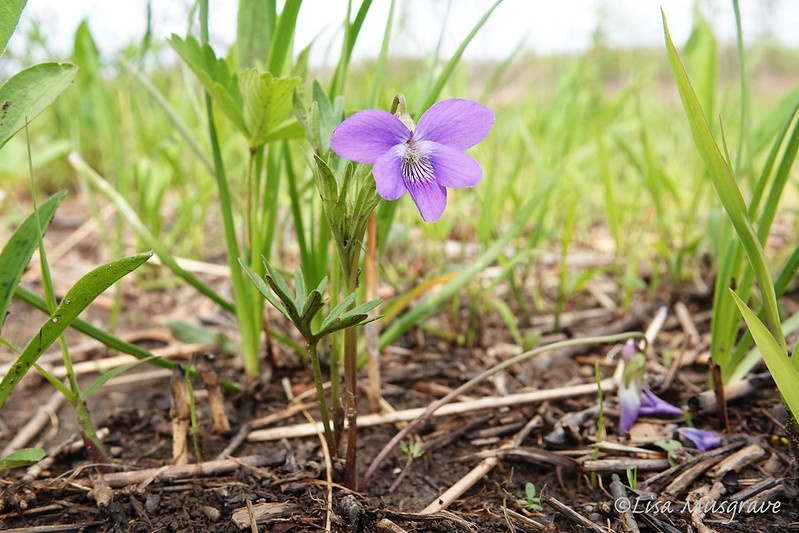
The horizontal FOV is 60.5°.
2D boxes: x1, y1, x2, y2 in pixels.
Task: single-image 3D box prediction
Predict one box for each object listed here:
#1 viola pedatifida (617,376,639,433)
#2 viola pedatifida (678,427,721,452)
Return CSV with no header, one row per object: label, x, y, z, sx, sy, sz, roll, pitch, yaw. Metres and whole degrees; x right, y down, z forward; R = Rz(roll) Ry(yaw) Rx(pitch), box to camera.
viola pedatifida,0.673,0.420,2.030,0.064,0.186,0.054,12,23,23
viola pedatifida,0.971,0.554,2.207,0.143,0.055,0.084,3,22,-1
